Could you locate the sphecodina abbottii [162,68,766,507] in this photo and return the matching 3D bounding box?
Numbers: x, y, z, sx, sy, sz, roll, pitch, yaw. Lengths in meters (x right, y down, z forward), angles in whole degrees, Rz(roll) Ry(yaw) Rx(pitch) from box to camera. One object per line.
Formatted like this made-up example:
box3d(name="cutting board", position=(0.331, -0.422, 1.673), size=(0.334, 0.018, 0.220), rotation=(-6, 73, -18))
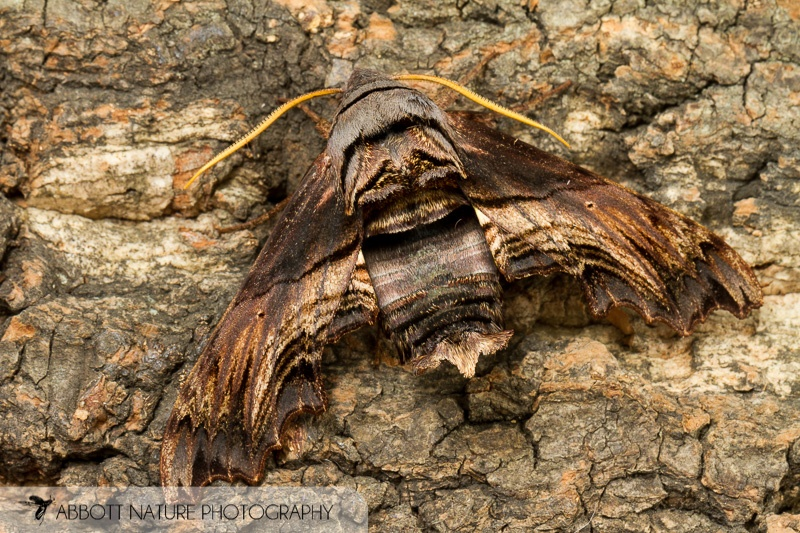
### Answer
box3d(name="sphecodina abbottii", position=(0.242, -0.012, 14.704), size=(4.799, 2.930, 1.580), rotation=(-13, -7, 4))
